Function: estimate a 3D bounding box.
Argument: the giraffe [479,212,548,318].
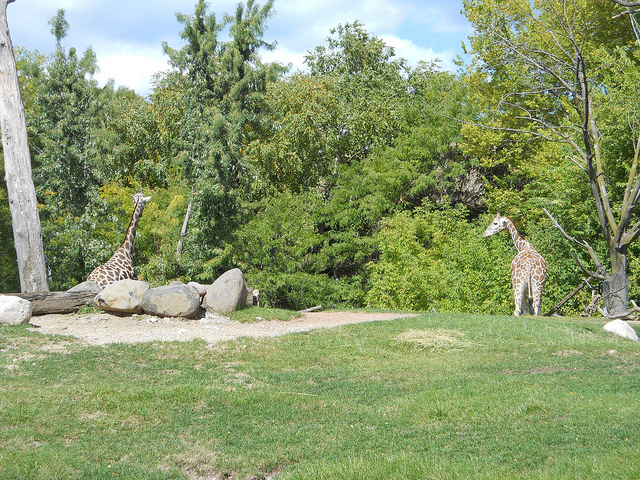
[{"bbox_3d":[7.458,0.909,25.614,2.020,3.880,5.514,1,-3,18],"label":"giraffe"}]

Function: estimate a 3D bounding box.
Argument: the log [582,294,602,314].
[{"bbox_3d":[9.641,2.247,23.954,0.398,0.648,1.549,1,-3,19],"label":"log"}]
